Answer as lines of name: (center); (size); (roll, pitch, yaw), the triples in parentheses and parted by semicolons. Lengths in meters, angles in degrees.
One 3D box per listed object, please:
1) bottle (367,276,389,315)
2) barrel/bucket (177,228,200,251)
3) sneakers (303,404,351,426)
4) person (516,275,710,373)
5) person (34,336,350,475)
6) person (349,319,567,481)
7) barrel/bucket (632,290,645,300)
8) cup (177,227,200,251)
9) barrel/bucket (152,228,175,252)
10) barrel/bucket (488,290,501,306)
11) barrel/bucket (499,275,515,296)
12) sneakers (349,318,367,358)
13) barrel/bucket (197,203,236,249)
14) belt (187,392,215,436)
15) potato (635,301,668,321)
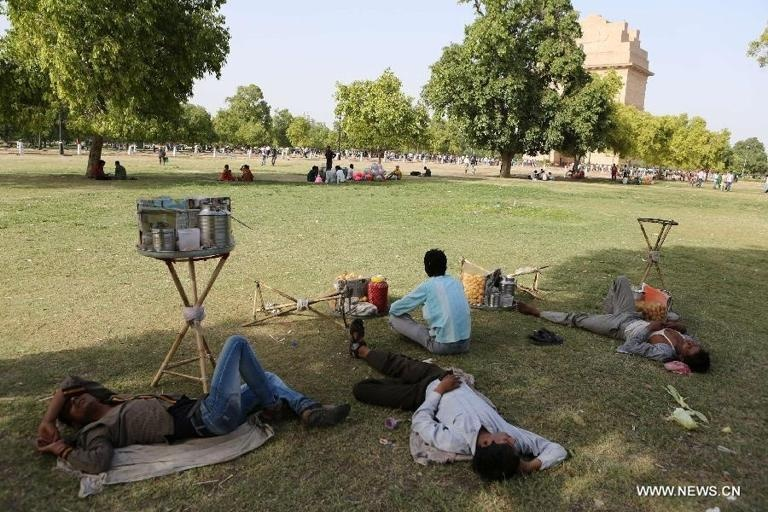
bottle: (-0.090, 0.642, 9.083); (0.348, 0.547, 0.251); (-5, 12, -22)
barrel/bucket: (-2.338, -0.167, 6.699); (0.355, 0.328, 0.250); (-1, -1, -28)
sneakers: (-0.695, 1.924, 6.662); (0.634, 0.232, 0.256); (-9, -32, 2)
person: (3.817, 1.122, 8.521); (2.061, 0.623, 1.145); (18, 14, 33)
person: (-2.299, 1.858, 6.655); (3.320, 1.014, 1.528); (-3, -1, -17)
person: (0.641, 1.756, 6.845); (1.075, 0.663, 2.718); (16, 0, -40)
barrel/bucket: (4.200, 0.644, 9.078); (0.189, 0.130, 0.167); (-3, 5, -44)
cup: (-2.361, -0.170, 6.717); (0.355, 0.324, 0.253); (1, 0, -34)
barrel/bucket: (-2.594, -0.188, 6.585); (0.285, 0.251, 0.275); (1, 3, 0)
barrel/bucket: (1.924, 0.755, 9.563); (0.235, 0.303, 0.222); (0, 4, 0)
barrel/bucket: (2.177, 0.514, 9.773); (0.342, 0.324, 0.253); (0, 5, 18)
sneakers: (-0.391, 1.168, 7.911); (0.216, 0.567, 0.263); (0, 5, -12)
barrel/bucket: (-1.980, -0.377, 6.922); (0.531, 0.527, 0.506); (0, 3, 0)
belt: (-2.111, 1.863, 6.426); (0.325, 0.408, 0.179); (-21, -22, -4)
potato: (4.374, 0.900, 8.960); (0.402, 0.167, 0.291); (6, 2, -38)
